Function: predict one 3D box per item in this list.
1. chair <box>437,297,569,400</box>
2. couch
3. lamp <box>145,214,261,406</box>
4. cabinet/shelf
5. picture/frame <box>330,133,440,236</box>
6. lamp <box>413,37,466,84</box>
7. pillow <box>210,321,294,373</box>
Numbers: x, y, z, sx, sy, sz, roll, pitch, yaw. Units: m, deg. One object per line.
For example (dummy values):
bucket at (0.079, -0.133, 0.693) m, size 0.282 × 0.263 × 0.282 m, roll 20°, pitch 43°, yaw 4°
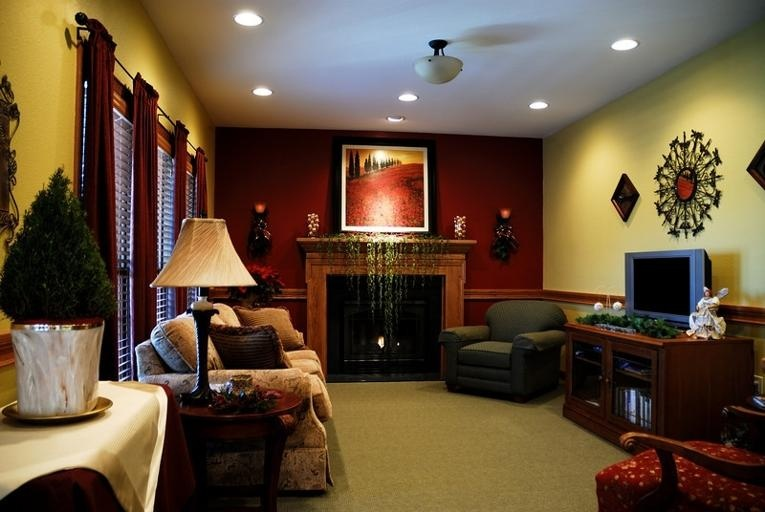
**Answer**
chair at (1.454, 1.034, 6.448) m, size 1.155 × 1.068 × 1.271 m, roll 3°, pitch -4°, yaw -43°
couch at (-1.118, 1.016, 4.726) m, size 1.281 × 1.139 × 2.218 m, roll -2°, pitch -1°, yaw -10°
lamp at (-1.104, 0.350, 3.413) m, size 0.679 × 1.117 × 0.687 m, roll 1°, pitch -1°, yaw -11°
cabinet/shelf at (2.324, 1.154, 5.030) m, size 0.752 × 0.999 × 1.473 m, roll -1°, pitch 1°, yaw -12°
picture/frame at (-0.032, -0.895, 7.163) m, size 1.280 × 1.206 × 0.129 m, roll 1°, pitch -6°, yaw -9°
lamp at (0.514, -1.690, 4.826) m, size 0.340 × 0.260 × 0.305 m, roll -3°, pitch 6°, yaw -35°
pillow at (-0.910, 0.621, 3.731) m, size 0.353 × 0.364 × 0.133 m, roll -3°, pitch 39°, yaw 3°
